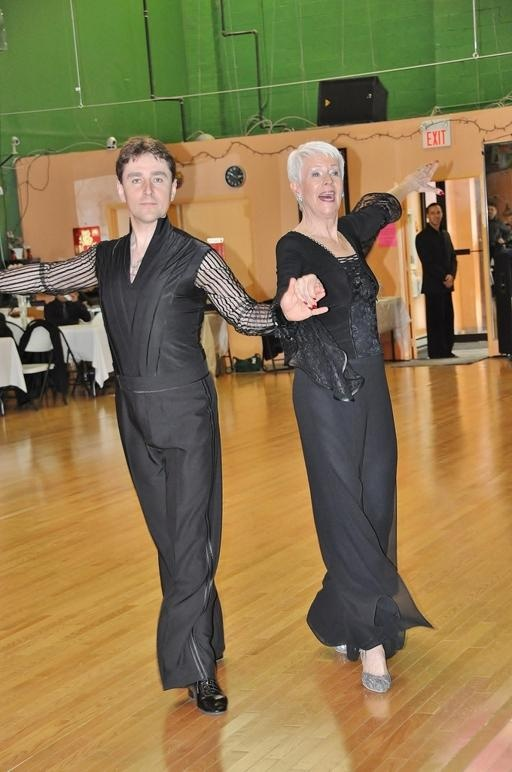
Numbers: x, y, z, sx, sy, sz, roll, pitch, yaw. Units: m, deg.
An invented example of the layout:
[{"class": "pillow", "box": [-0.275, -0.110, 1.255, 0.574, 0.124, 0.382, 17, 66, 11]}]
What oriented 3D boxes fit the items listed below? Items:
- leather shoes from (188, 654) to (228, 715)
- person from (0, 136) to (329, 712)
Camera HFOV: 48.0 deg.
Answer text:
[{"class": "leather shoes", "box": [-0.122, 0.750, 1.432, 0.049, 0.060, 0.134, -9, 1, -20]}, {"class": "person", "box": [-0.190, 0.102, 1.434, 0.704, 1.170, 0.275, -8, -2, 16]}]
